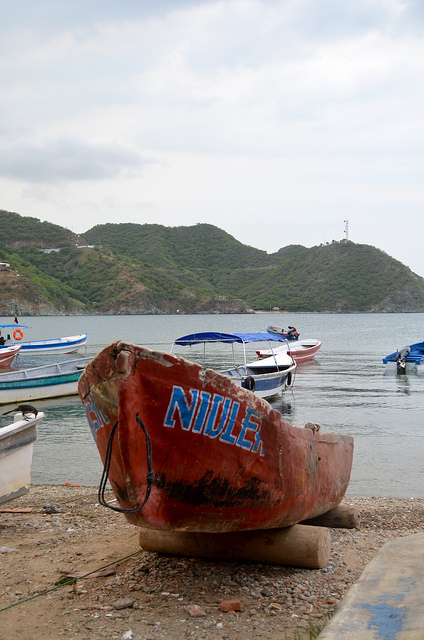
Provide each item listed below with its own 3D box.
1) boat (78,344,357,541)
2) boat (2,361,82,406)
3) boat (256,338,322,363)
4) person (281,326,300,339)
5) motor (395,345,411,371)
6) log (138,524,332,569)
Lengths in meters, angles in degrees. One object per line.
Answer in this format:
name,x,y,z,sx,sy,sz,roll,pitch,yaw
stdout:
boat,-0.020,1.056,5.097,1.161,0.880,2.508,-7,-26,37
boat,-5.218,1.905,20.549,1.808,1.252,3.376,-1,-5,9
boat,4.777,1.757,37.590,1.572,0.961,5.931,17,10,28
person,5.815,0.924,47.814,0.965,0.674,2.080,-2,-1,7
motor,8.887,1.753,30.737,0.521,0.578,1.576,2,28,21
log,0.191,1.799,5.290,1.475,0.300,0.351,-1,-5,6
